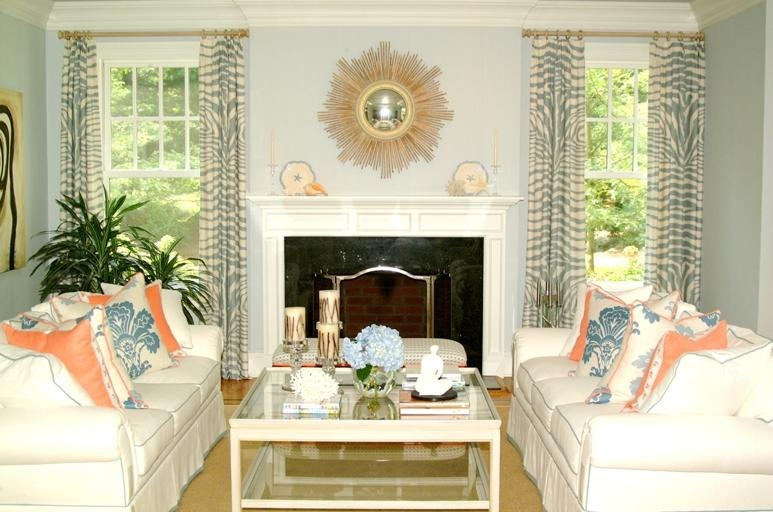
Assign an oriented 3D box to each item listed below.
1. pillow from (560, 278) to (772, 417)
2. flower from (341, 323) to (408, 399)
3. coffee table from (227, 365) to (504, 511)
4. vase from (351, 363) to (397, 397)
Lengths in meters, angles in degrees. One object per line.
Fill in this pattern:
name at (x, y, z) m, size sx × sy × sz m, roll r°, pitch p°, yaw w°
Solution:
pillow at (1.586, 0.582, 3.978) m, size 0.511 × 0.645 × 1.226 m, roll 13°, pitch -4°, yaw 1°
flower at (-0.087, 0.635, 4.231) m, size 0.463 × 0.484 × 0.417 m, roll 3°, pitch 3°, yaw 44°
coffee table at (-0.117, 1.224, 4.150) m, size 1.610 × 0.718 × 0.691 m, roll 0°, pitch 5°, yaw 2°
vase at (-0.076, 0.815, 4.267) m, size 0.291 × 0.226 × 0.298 m, roll 0°, pitch -7°, yaw 1°
